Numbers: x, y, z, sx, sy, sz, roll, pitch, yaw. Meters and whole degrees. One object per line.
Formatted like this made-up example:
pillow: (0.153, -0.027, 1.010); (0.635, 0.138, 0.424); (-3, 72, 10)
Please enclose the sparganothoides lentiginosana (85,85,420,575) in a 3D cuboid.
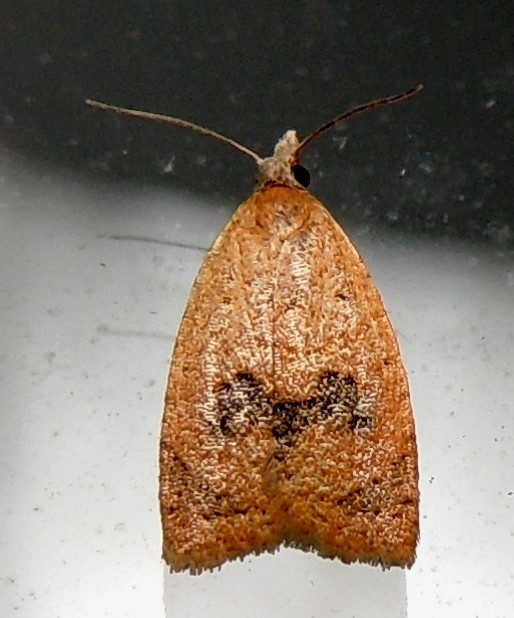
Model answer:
sparganothoides lentiginosana: (-0.015, 0.059, 1.259); (0.696, 0.164, 0.737); (-3, 91, 3)
